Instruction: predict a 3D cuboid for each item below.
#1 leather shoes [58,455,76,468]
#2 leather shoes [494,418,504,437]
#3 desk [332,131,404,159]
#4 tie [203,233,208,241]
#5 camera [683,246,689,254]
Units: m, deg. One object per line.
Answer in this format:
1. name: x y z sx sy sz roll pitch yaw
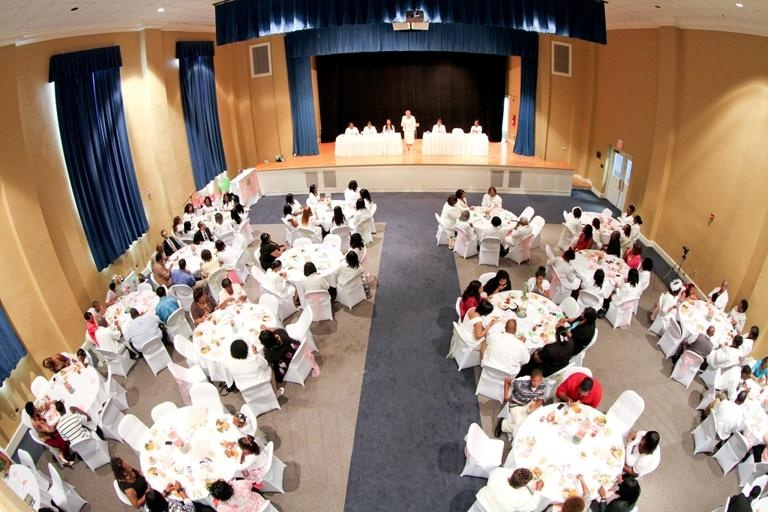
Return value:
1. leather shoes: -5.628 3.620 8.469 0.343 0.143 0.124 10 38 6
2. leather shoes: 2.050 3.067 8.583 0.109 0.358 0.143 7 8 16
3. desk: -0.539 -3.894 16.920 1.635 0.475 1.085 3 31 4
4. tie: -4.670 -0.486 12.454 0.130 0.201 0.044 -6 2 -2
5. camera: 7.205 -0.142 11.457 0.100 0.194 0.104 25 55 33
